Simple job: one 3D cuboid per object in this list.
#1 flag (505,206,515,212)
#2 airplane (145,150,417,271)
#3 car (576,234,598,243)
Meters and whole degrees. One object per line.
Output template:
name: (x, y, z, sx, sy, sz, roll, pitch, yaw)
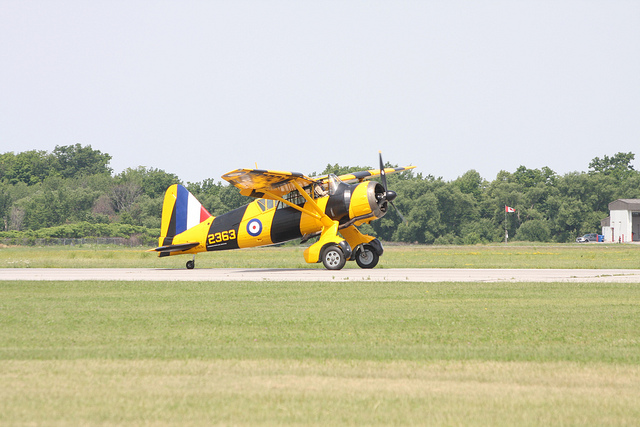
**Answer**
flag: (21.896, -0.453, 98.734, 0.994, 1.011, 0.075, 3, -20, -4)
airplane: (-2.097, 0.379, 35.099, 10.259, 4.242, 14.018, -7, -1, 11)
car: (33.538, 3.248, 107.259, 1.960, 0.717, 1.141, 2, 0, 11)
